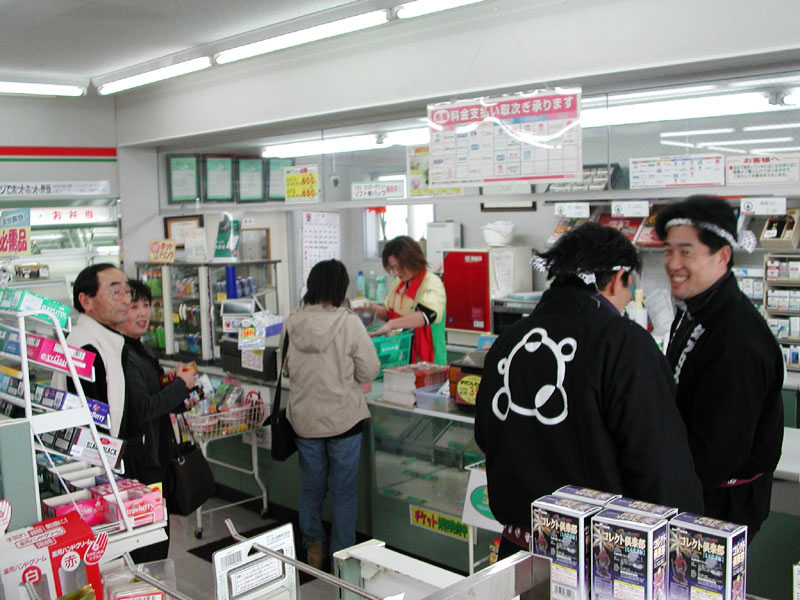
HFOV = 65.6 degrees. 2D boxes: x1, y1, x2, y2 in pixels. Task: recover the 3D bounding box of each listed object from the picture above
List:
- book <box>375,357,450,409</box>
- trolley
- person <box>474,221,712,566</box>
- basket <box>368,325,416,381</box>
[{"bbox_3d":[0.103,0.496,3.877,0.250,0.161,0.348,3,6,34],"label":"book"},{"bbox_3d":[-1.247,1.162,4.558,0.604,0.887,0.625,-6,2,-28],"label":"trolley"},{"bbox_3d":[0.597,0.434,2.082,0.736,0.955,0.244,1,6,34],"label":"person"},{"bbox_3d":[-0.044,0.367,4.538,0.244,0.218,0.340,-6,7,-33],"label":"basket"}]
